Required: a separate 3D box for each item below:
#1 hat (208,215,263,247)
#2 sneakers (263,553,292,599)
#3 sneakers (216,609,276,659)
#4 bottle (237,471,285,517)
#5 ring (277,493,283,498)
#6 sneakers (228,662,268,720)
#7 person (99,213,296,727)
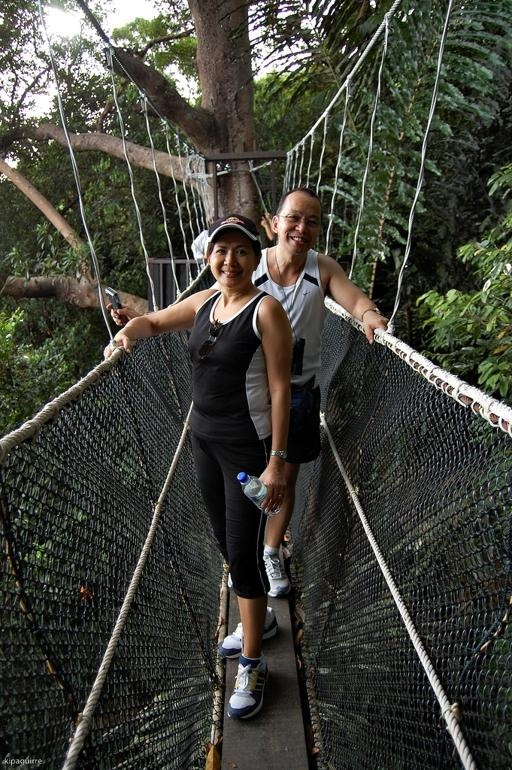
[{"bbox_3d":[-0.051,-0.332,1.226,0.114,0.077,0.083,-10,16,-4],"label":"hat"},{"bbox_3d":[0.062,0.625,1.848,0.076,0.096,0.224,-4,14,0],"label":"sneakers"},{"bbox_3d":[0.004,0.738,1.681,0.083,0.115,0.261,-10,-13,31],"label":"sneakers"},{"bbox_3d":[0.009,0.232,1.195,0.053,0.130,0.053,-36,27,22],"label":"bottle"},{"bbox_3d":[0.053,0.236,1.184,0.007,0.010,0.003,3,-10,-33],"label":"ring"},{"bbox_3d":[-0.011,0.755,1.396,0.069,0.078,0.175,-2,1,11],"label":"sneakers"},{"bbox_3d":[-0.064,0.220,1.360,0.396,1.192,0.383,-8,16,5],"label":"person"}]
